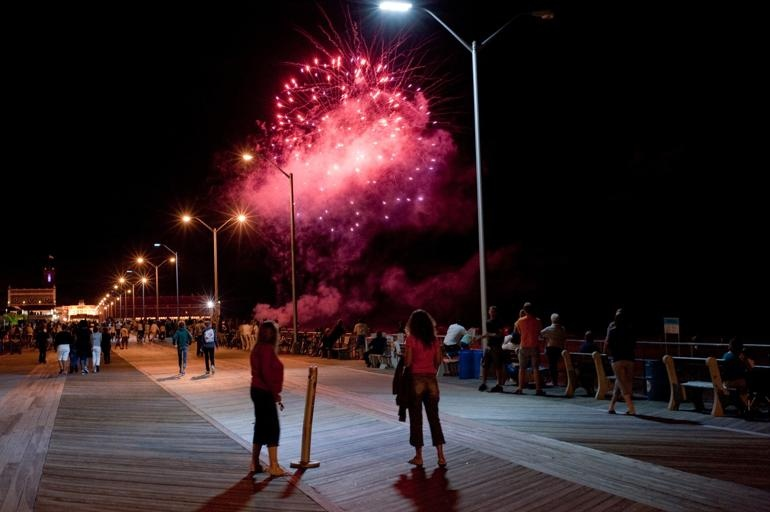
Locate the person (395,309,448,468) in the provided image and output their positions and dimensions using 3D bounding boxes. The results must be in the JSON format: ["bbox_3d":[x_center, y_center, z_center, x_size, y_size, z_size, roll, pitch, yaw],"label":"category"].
[{"bbox_3d":[0.650,2.174,9.924,0.717,2.582,1.095,-1,-8,5],"label":"person"}]

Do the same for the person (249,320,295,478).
[{"bbox_3d":[-1.917,2.296,9.625,0.562,2.446,1.095,1,-9,-10],"label":"person"}]

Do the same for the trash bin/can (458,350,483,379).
[{"bbox_3d":[2.837,3.587,19.276,0.892,0.953,0.530,5,-12,-28],"label":"trash bin/can"}]

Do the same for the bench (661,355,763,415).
[{"bbox_3d":[7.421,2.976,13.287,0.768,1.006,1.409,-2,-1,-21],"label":"bench"}]
